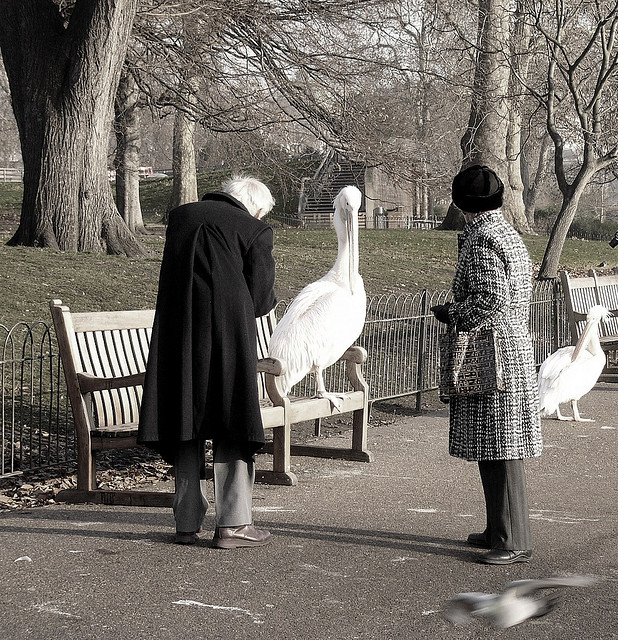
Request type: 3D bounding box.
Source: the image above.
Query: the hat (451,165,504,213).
[{"bbox_3d":[1.011,-0.780,6.956,0.265,0.181,0.295,5,49,3],"label":"hat"}]

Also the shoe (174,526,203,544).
[{"bbox_3d":[-0.755,1.313,7.279,0.162,0.097,0.311,1,7,-1],"label":"shoe"}]

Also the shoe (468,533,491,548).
[{"bbox_3d":[1.047,1.350,7.158,0.056,0.067,0.149,-1,11,-42],"label":"shoe"}]

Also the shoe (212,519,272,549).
[{"bbox_3d":[-0.418,1.294,7.156,0.317,0.235,0.143,-1,1,-25],"label":"shoe"}]

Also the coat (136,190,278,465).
[{"bbox_3d":[-0.640,0.082,7.182,0.726,1.761,0.596,3,5,-6],"label":"coat"}]

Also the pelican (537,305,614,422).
[{"bbox_3d":[2.485,0.433,10.914,0.759,1.264,0.722,3,11,-3],"label":"pelican"}]

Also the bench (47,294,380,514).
[{"bbox_3d":[-0.638,0.549,8.928,1.202,1.483,2.589,-2,1,33],"label":"bench"}]
